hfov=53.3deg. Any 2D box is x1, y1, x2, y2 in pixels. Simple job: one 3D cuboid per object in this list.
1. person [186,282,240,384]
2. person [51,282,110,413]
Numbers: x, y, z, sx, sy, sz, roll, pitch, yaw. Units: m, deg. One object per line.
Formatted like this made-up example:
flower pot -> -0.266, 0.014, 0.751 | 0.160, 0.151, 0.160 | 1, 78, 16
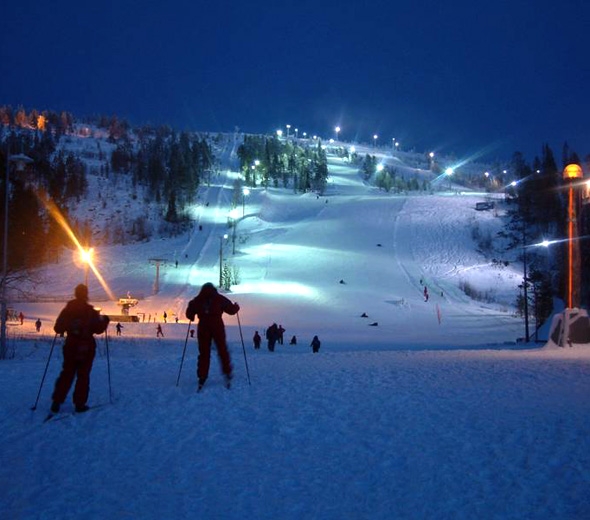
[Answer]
person -> -1.995, 1.936, 14.295 | 1.080, 2.624, 0.877 | -5, -30, -7
person -> -4.820, 1.994, 12.955 | 0.783, 2.710, 1.338 | 5, 13, 27
